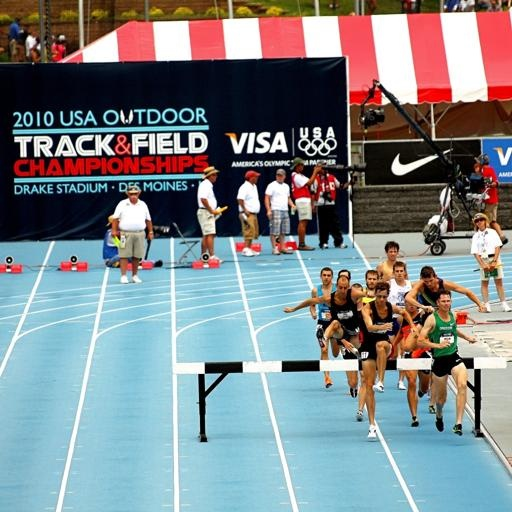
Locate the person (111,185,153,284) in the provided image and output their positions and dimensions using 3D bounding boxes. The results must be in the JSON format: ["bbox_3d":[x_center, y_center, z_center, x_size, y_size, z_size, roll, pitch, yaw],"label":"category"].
[{"bbox_3d":[-2.497,-0.410,20.513,0.789,1.966,0.792,-4,6,-7],"label":"person"}]

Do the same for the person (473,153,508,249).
[{"bbox_3d":[5.340,-1.439,23.132,0.470,2.662,0.668,0,12,15],"label":"person"}]

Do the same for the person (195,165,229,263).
[{"bbox_3d":[-0.975,-0.922,22.434,0.707,2.144,0.736,0,1,-10],"label":"person"}]

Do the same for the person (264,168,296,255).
[{"bbox_3d":[0.504,-1.038,23.590,0.647,2.042,0.724,0,1,-12],"label":"person"}]

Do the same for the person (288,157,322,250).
[{"bbox_3d":[1.146,-1.213,24.130,0.588,2.123,0.708,0,0,-39],"label":"person"}]
